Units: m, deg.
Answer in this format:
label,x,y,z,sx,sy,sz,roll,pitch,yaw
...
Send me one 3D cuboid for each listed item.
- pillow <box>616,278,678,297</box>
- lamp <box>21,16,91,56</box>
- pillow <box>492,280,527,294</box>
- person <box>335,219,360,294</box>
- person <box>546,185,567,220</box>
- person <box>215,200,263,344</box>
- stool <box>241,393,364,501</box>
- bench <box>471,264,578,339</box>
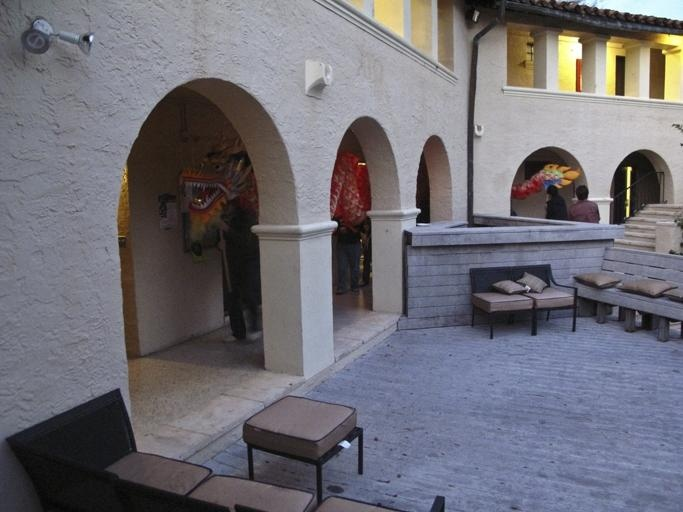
label,x,y,z,sx,sy,sz,roll,pitch,yaw
pillow,4.344,0.467,8.237,0.740,0.232,0.418,11,16,44
lamp,-1.926,-1.526,3.955,0.409,0.236,0.217,9,-2,-23
pillow,2.475,0.456,8.382,0.243,0.091,0.265,-6,14,-17
person,0.124,0.010,10.692,0.413,1.409,0.910,-1,12,-2
person,4.456,-1.117,11.974,0.374,0.682,0.876,3,12,19
person,-1.447,0.161,8.422,0.478,1.945,0.893,-3,12,-10
stool,-0.344,1.449,4.728,0.750,0.597,0.774,4,8,27
bench,2.658,0.670,8.570,1.413,0.915,1.019,-2,12,-4
